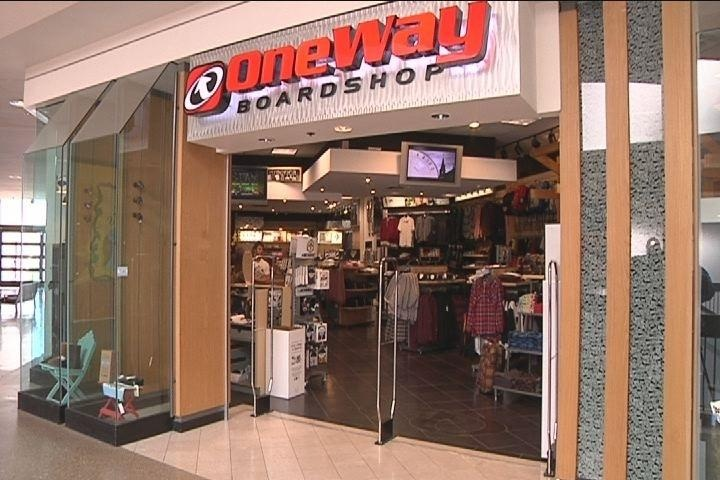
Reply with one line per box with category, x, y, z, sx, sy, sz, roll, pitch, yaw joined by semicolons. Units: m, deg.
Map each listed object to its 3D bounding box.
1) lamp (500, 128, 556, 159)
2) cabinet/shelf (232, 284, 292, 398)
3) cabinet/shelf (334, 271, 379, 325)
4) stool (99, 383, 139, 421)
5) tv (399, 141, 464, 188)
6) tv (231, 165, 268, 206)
lamp;3.643;-2.083;12.307;0.873;0.543;2.662;0;5;4
cabinet/shelf;-1.581;1.434;8.730;1.017;1.522;0.951;16;-12;-38
cabinet/shelf;-0.072;1.389;14.072;1.051;1.450;0.470;-1;6;-9
stool;-2.865;1.895;6.951;0.441;0.492;0.430;-1;-6;42
tv;1.296;-1.379;10.572;0.838;0.603;0.113;2;4;-13
tv;-2.394;-1.187;12.328;1.029;1.019;0.556;2;3;-17
